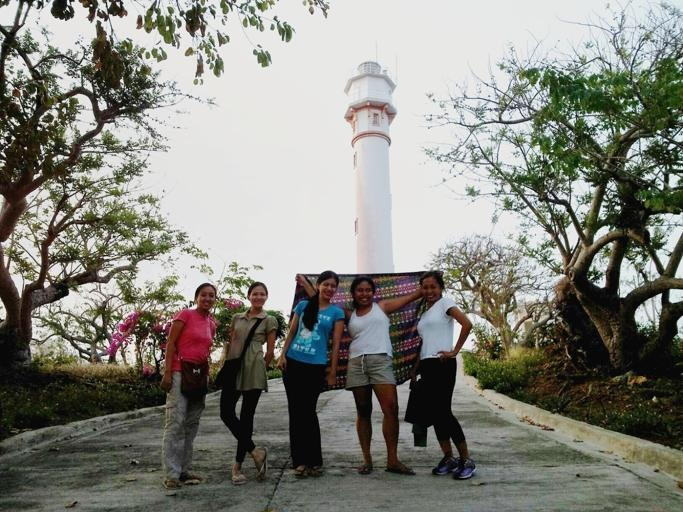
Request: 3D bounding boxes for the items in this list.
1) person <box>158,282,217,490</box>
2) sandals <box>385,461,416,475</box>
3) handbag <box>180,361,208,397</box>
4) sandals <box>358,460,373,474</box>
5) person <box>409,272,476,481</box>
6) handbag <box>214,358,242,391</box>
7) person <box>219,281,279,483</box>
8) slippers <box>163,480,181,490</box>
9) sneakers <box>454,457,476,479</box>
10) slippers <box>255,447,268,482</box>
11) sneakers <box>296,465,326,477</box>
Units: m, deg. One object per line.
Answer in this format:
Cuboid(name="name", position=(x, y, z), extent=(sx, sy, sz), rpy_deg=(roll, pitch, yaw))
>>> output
Cuboid(name="person", position=(-2.035, 1.656, 7.065), extent=(0.635, 2.566, 0.867), rpy_deg=(0, -3, -9))
Cuboid(name="sandals", position=(0.782, 2.829, 7.147), extent=(0.292, 0.126, 0.158), rpy_deg=(-7, -15, 19))
Cuboid(name="handbag", position=(-1.957, 1.620, 7.047), extent=(0.366, 0.453, 0.128), rpy_deg=(16, -34, -43))
Cuboid(name="sandals", position=(0.324, 2.864, 7.267), extent=(0.199, 0.127, 0.241), rpy_deg=(-1, -3, 3))
Cuboid(name="person", position=(1.336, 1.568, 7.300), extent=(0.885, 2.728, 0.427), rpy_deg=(-1, -3, 25))
Cuboid(name="handbag", position=(-1.524, 1.593, 7.199), extent=(0.331, 0.434, 0.190), rpy_deg=(0, -3, -14))
Cuboid(name="person", position=(-1.289, 1.666, 7.241), extent=(0.791, 2.606, 0.661), rpy_deg=(0, -3, -9))
Cuboid(name="slippers", position=(-2.125, 2.867, 6.715), extent=(0.212, 0.104, 0.160), rpy_deg=(0, -3, -11))
Cuboid(name="sneakers", position=(1.624, 2.798, 7.091), extent=(0.272, 0.229, 0.368), rpy_deg=(-1, -3, 16))
Cuboid(name="slippers", position=(-1.058, 2.758, 7.113), extent=(0.127, 0.384, 0.139), rpy_deg=(6, -29, -9))
Cuboid(name="sneakers", position=(-0.437, 2.902, 7.212), extent=(0.345, 0.153, 0.095), rpy_deg=(3, 0, 1))
